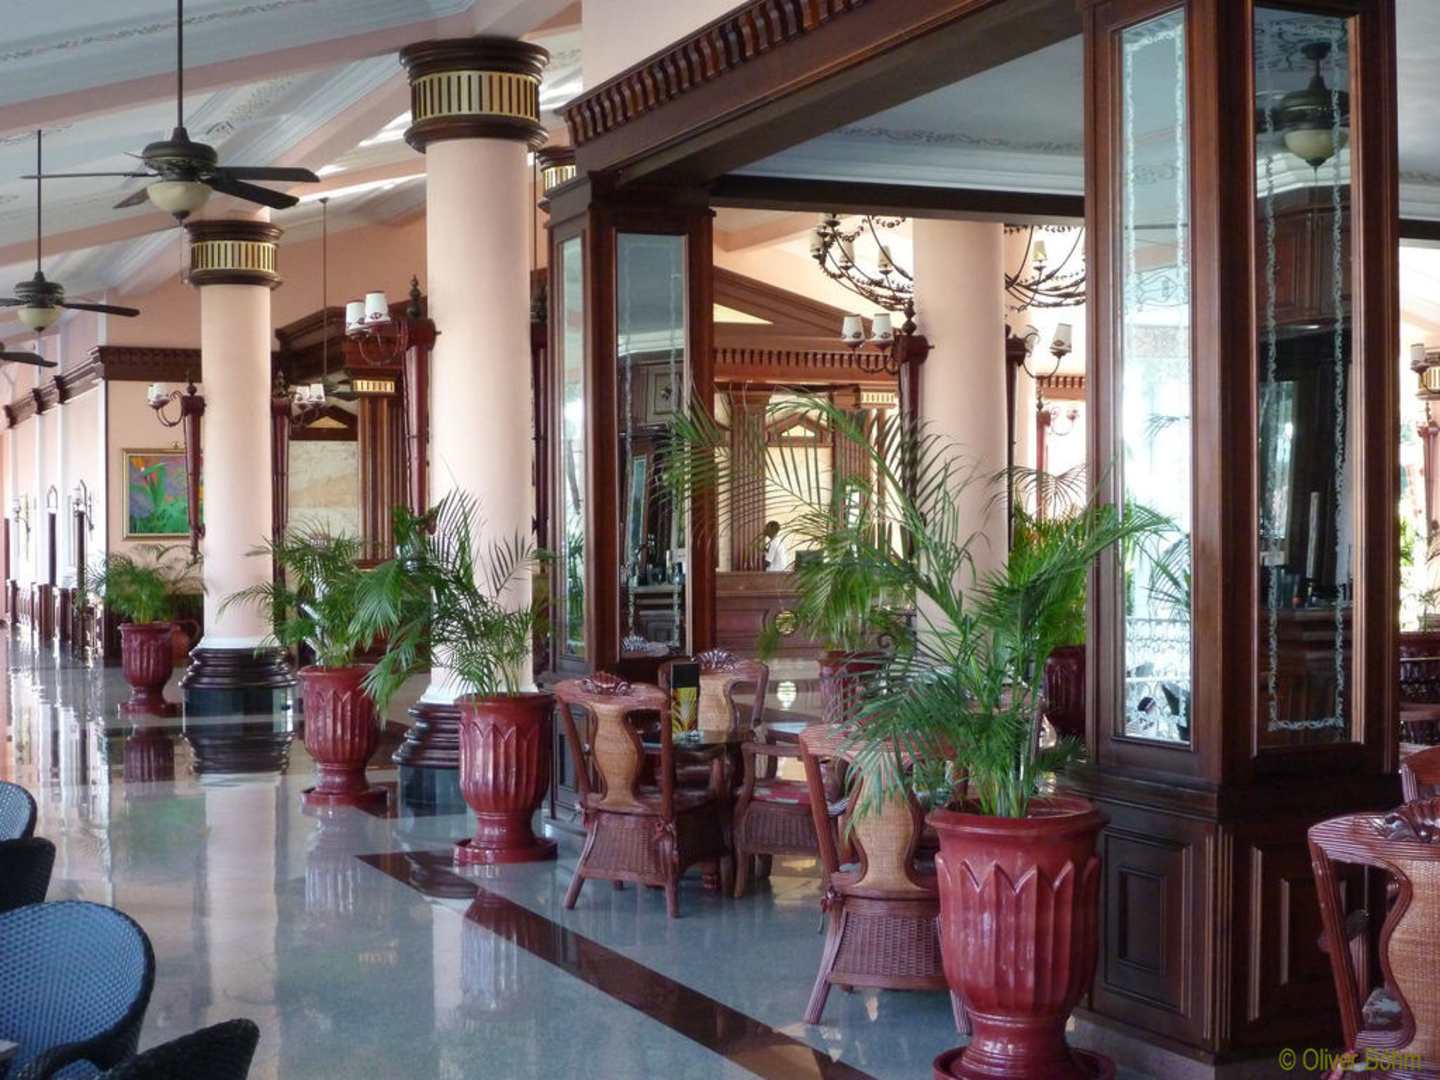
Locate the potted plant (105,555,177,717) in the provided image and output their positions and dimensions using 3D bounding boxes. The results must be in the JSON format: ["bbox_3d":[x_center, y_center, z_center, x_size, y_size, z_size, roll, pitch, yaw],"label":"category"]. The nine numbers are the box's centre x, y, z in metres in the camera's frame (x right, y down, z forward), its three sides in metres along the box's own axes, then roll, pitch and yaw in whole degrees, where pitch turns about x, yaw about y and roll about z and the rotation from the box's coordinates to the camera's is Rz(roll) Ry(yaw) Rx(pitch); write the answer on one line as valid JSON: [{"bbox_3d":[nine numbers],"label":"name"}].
[{"bbox_3d":[-6.380,1.010,14.097,0.705,1.640,1.721,0,-1,-25],"label":"potted plant"}]

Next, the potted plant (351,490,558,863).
[{"bbox_3d":[-1.477,0.844,7.359,1.341,2.008,1.020,-13,-11,34],"label":"potted plant"}]

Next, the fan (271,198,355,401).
[{"bbox_3d":[-5.657,-3.470,18.184,0.489,2.864,0.481,1,-7,-29],"label":"fan"}]

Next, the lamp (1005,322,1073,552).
[{"bbox_3d":[2.480,-0.640,10.100,0.562,2.050,0.524,-1,4,2],"label":"lamp"}]

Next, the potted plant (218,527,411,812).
[{"bbox_3d":[-2.551,0.834,8.942,1.424,1.932,1.389,-8,4,-35],"label":"potted plant"}]

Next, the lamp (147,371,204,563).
[{"bbox_3d":[-6.893,-0.964,16.231,0.621,2.346,3.854,0,-1,-23],"label":"lamp"}]

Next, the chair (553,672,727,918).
[{"bbox_3d":[-0.368,1.194,6.323,0.785,1.079,0.847,-1,-2,2],"label":"chair"}]

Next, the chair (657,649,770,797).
[{"bbox_3d":[-0.120,0.963,6.955,0.658,0.809,0.653,4,-2,17],"label":"chair"}]

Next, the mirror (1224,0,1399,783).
[{"bbox_3d":[1.951,-0.528,4.135,0.602,2.428,0.117,0,-2,-24],"label":"mirror"}]

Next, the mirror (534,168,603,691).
[{"bbox_3d":[-0.854,-1.052,7.555,0.142,2.192,0.329,2,15,-16],"label":"mirror"}]

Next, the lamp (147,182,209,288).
[{"bbox_3d":[-2.842,-1.676,6.732,0.292,0.219,0.293,-2,1,-27],"label":"lamp"}]

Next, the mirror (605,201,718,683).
[{"bbox_3d":[-0.374,-0.603,7.377,0.626,3.051,0.128,0,-18,-4],"label":"mirror"}]

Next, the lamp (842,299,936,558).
[{"bbox_3d":[1.300,-0.809,9.689,0.580,1.809,0.612,0,12,21],"label":"lamp"}]

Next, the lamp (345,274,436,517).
[{"bbox_3d":[-2.502,-0.941,9.900,0.754,1.917,0.622,-8,-5,37],"label":"lamp"}]

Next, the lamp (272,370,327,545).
[{"bbox_3d":[-5.585,-0.774,16.755,0.751,2.600,0.905,4,2,-13],"label":"lamp"}]
